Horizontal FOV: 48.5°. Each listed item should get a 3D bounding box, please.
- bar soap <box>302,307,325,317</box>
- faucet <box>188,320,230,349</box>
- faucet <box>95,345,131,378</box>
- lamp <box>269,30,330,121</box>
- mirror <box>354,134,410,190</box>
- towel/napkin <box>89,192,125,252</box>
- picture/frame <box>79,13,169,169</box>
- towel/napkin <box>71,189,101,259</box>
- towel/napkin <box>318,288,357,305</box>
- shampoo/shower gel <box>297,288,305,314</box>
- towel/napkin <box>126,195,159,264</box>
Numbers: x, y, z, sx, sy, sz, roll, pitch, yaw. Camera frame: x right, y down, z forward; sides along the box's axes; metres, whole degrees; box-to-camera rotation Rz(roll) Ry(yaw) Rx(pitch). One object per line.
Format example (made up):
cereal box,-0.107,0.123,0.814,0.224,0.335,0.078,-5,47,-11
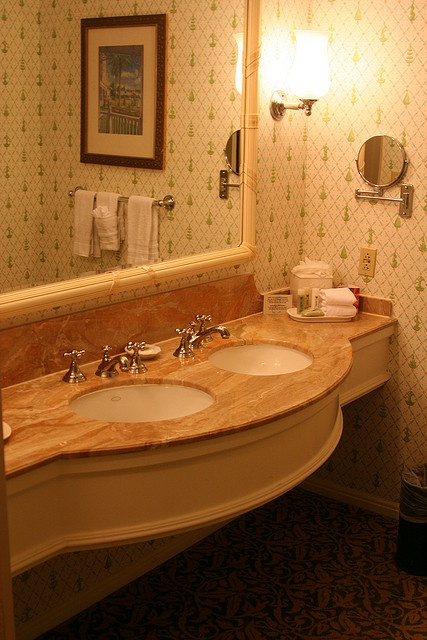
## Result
bar soap,0.448,-0.030,2.132,0.071,0.022,0.046,-3,20,-10
faucet,-0.020,0.050,1.731,0.060,0.081,0.193,-8,12,-28
faucet,-0.324,0.124,1.506,0.064,0.077,0.115,12,20,28
lamp,0.380,-1.040,2.052,0.203,0.311,0.146,1,13,10
mirror,0.785,-0.731,2.176,0.232,0.242,0.024,-24,0,42
towel/napkin,-0.332,-0.310,1.496,0.114,0.159,0.046,5,11,33
picture/frame,-0.272,-0.734,1.467,0.047,0.512,0.389,7,13,28
towel/napkin,-0.388,-0.289,1.428,0.020,0.199,0.102,7,13,27
towel/napkin,0.575,-0.103,2.174,0.154,0.074,0.097,-4,12,-23
shampoo/shower gel,0.392,-0.082,2.137,0.036,0.107,0.033,6,12,22
towel/napkin,-0.244,-0.301,1.617,0.011,0.231,0.149,9,14,36
